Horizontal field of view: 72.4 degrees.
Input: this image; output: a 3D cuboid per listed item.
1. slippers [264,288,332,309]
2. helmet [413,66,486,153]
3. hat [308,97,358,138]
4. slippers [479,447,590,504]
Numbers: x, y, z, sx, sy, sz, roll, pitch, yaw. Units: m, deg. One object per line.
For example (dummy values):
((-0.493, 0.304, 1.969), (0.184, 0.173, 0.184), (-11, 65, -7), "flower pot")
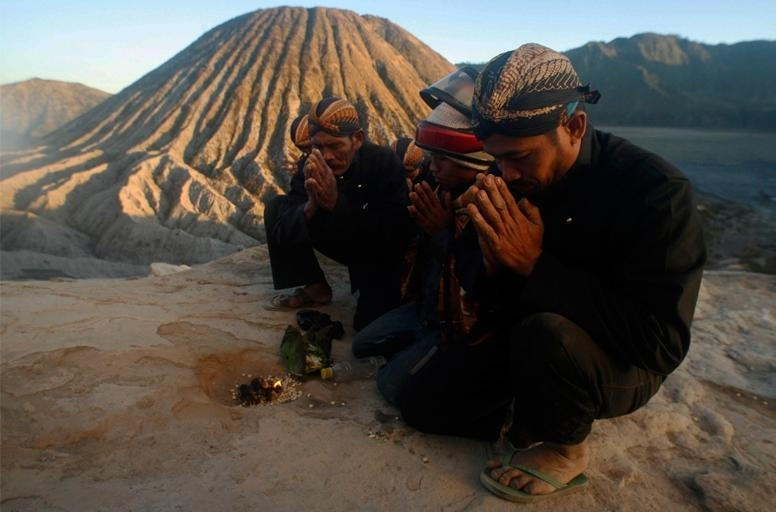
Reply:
((-0.771, 0.330, 4.631), (0.564, 0.227, 0.204), (-2, 9, -10), "slippers")
((0.350, -0.975, 3.557), (0.540, 0.506, 0.433), (8, 14, 4), "helmet")
((-0.434, -1.101, 4.294), (0.337, 0.222, 0.339), (1, 11, -6), "hat")
((0.798, 1.216, 2.906), (0.486, 0.131, 0.274), (5, 19, 1), "slippers")
